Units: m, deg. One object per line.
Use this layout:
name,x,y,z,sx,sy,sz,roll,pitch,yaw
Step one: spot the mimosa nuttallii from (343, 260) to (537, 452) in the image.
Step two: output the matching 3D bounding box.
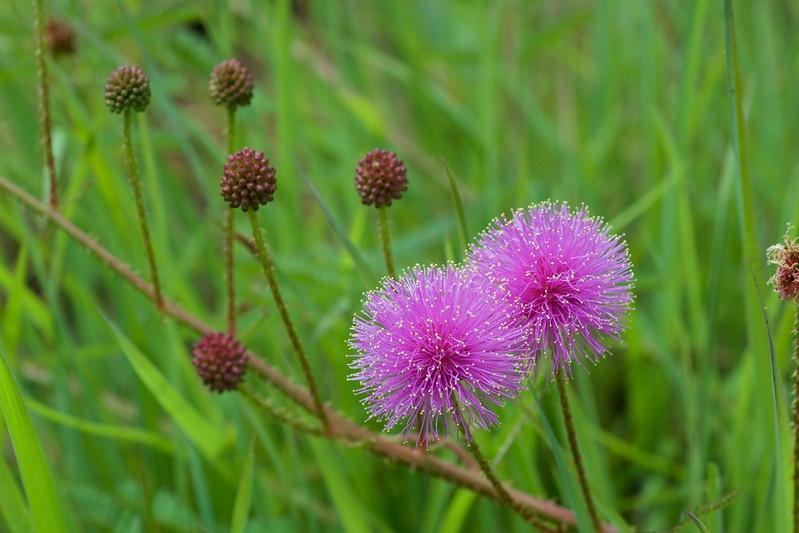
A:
mimosa nuttallii,0.044,0.097,1.447,0.240,0.251,0.206,4,90,33

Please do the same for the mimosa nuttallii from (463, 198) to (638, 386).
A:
mimosa nuttallii,0.235,0.027,1.443,0.194,0.188,0.250,8,102,46
